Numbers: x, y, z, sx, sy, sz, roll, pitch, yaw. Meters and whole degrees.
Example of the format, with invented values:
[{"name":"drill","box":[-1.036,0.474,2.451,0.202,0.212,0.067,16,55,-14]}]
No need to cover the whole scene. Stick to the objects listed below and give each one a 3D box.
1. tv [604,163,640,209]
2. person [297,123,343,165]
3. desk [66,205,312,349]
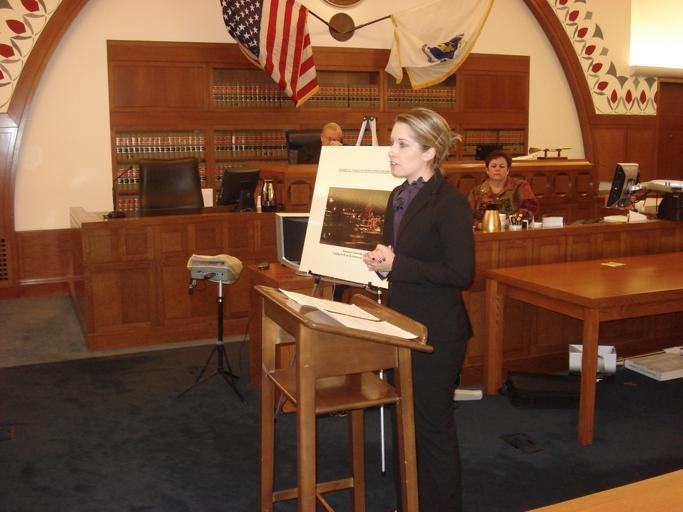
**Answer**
[{"name":"tv","box":[2.521,-0.634,5.026,0.223,0.401,0.214,5,15,22]},{"name":"person","box":[-0.237,-1.208,5.895,0.454,0.425,0.763,-1,12,-4]},{"name":"desk","box":[-1.526,0.199,5.408,2.686,1.362,1.347,-4,8,-25]}]
